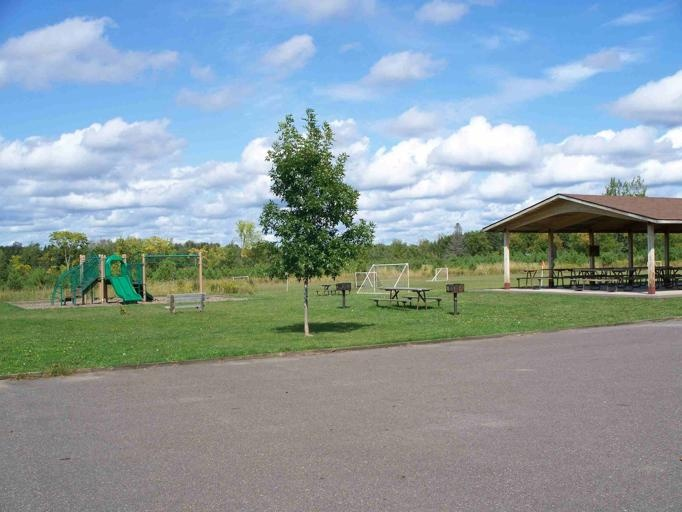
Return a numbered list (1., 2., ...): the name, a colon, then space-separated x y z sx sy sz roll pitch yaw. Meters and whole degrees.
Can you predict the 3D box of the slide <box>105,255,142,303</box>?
1. slide: -11.060 1.107 30.694 1.132 1.823 2.813 -5 23 -42
